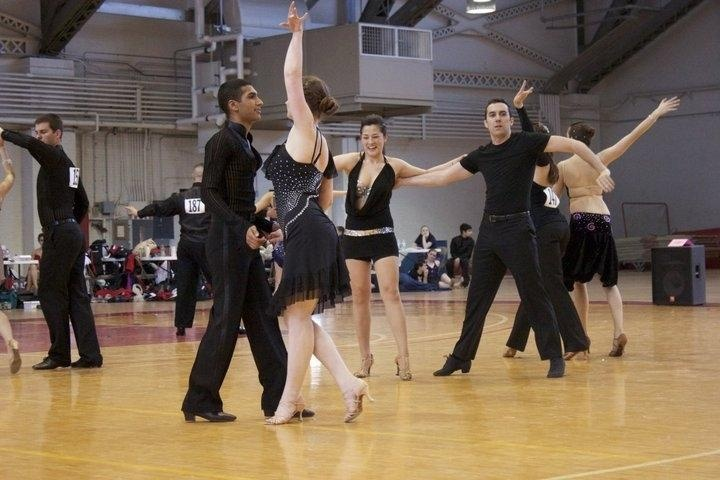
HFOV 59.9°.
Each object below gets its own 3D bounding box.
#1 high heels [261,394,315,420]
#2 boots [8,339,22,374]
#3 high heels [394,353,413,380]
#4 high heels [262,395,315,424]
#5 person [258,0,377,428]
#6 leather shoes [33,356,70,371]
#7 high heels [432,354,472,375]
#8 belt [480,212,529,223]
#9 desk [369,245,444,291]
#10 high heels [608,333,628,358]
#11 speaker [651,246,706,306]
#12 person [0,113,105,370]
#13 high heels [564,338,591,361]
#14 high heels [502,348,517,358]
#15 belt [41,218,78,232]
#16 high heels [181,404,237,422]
[{"bbox_3d":[-0.463,1.101,4.119,0.136,0.165,0.413,-4,-9,26],"label":"high heels"},{"bbox_3d":[-3.114,1.066,5.731,0.107,0.334,0.136,-10,24,-36],"label":"boots"},{"bbox_3d":[0.369,1.095,5.374,0.131,0.233,0.443,2,-11,-13],"label":"high heels"},{"bbox_3d":[-0.438,1.096,4.067,0.355,0.180,0.129,4,-8,-37],"label":"high heels"},{"bbox_3d":[-0.307,-0.133,4.035,0.550,2.545,0.416,0,0,-21],"label":"person"},{"bbox_3d":[-2.923,1.179,6.058,0.369,0.167,0.140,5,-8,-12],"label":"leather shoes"},{"bbox_3d":[0.805,1.092,5.494,0.400,0.220,0.139,-2,0,-5],"label":"high heels"},{"bbox_3d":[1.218,-0.198,5.259,0.390,0.097,0.178,0,-1,19],"label":"belt"},{"bbox_3d":[1.565,0.939,17.102,0.945,1.173,1.664,-8,0,-7],"label":"desk"},{"bbox_3d":[2.481,1.007,5.997,0.110,0.151,0.284,-10,-4,-3],"label":"high heels"},{"bbox_3d":[5.359,0.587,10.551,0.543,0.966,0.727,-2,-2,-41],"label":"speaker"},{"bbox_3d":[-2.844,0.007,5.972,0.786,2.186,0.432,0,0,-30],"label":"person"},{"bbox_3d":[2.096,1.062,5.981,0.429,0.204,0.145,4,-13,-39],"label":"high heels"},{"bbox_3d":[1.497,1.129,6.301,0.138,0.147,0.086,4,-3,14],"label":"high heels"},{"bbox_3d":[-2.855,-0.142,5.996,0.319,0.128,0.213,1,-1,-27],"label":"belt"},{"bbox_3d":[-0.970,1.123,4.087,0.351,0.154,0.122,-2,-2,3],"label":"high heels"}]
